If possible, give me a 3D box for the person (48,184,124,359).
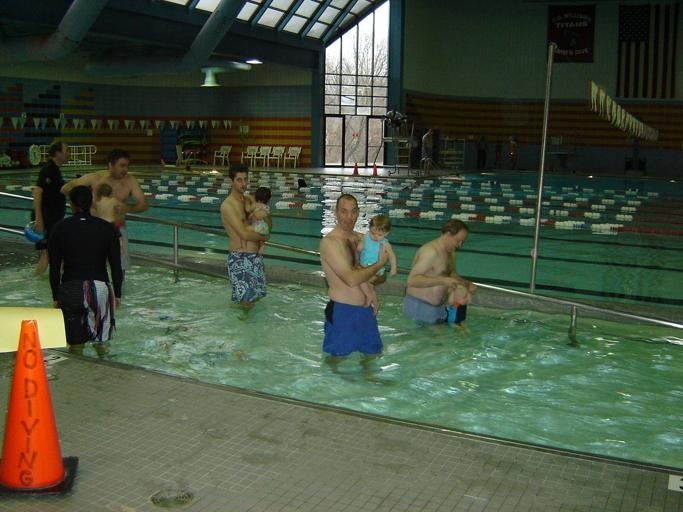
[{"bbox_3d":[-2.020,0.091,3.924,0.497,1.270,0.246,-5,13,-24],"label":"person"}]

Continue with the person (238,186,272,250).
[{"bbox_3d":[-0.940,-0.379,5.582,0.280,0.774,0.518,-2,11,-10],"label":"person"}]

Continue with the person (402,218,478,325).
[{"bbox_3d":[0.962,0.178,4.910,0.677,1.089,0.593,2,11,6],"label":"person"}]
